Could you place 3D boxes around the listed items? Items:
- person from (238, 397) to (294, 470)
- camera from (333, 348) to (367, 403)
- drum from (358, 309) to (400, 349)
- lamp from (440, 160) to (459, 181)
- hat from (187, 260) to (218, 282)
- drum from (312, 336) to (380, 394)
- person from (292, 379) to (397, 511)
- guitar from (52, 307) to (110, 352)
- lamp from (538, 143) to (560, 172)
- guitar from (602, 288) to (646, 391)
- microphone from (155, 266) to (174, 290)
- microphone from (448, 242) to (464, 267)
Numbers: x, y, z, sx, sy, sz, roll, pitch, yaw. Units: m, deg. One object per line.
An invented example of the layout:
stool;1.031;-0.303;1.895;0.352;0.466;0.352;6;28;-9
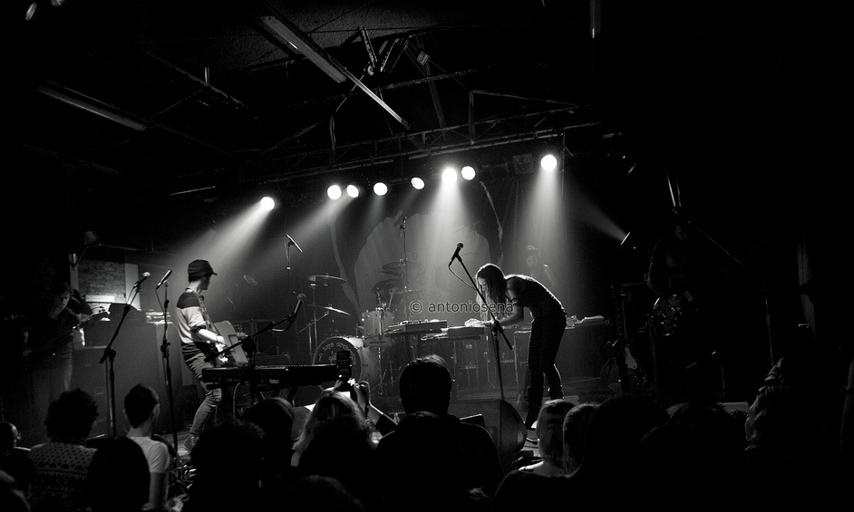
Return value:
person;-1.673;1.876;7.410;0.527;0.748;0.399;5;-13;-13
camera;-0.962;1.659;9.336;0.283;0.799;0.475;-19;-24;18
drum;-0.963;1.405;13.633;0.750;0.686;0.716;2;-6;-31
lamp;0.509;-1.723;14.382;0.320;0.298;0.366;-19;11;0
hat;-3.461;0.227;10.942;0.326;0.239;0.433;0;3;38
drum;-1.528;1.958;13.410;1.315;1.175;1.310;-6;-9;24
person;-0.776;1.890;7.215;0.909;1.089;0.467;-4;8;33
guitar;-5.872;1.160;12.376;0.679;0.176;1.220;3;19;-6
lamp;2.357;-1.908;13.741;0.435;0.398;0.505;-5;-20;20
guitar;3.545;1.399;12.700;0.638;2.117;1.729;-2;-13;15
microphone;-5.207;0.450;14.006;0.559;0.151;0.162;-41;-22;-9
microphone;0.538;-0.018;13.088;0.163;0.173;0.530;-26;-34;-40
